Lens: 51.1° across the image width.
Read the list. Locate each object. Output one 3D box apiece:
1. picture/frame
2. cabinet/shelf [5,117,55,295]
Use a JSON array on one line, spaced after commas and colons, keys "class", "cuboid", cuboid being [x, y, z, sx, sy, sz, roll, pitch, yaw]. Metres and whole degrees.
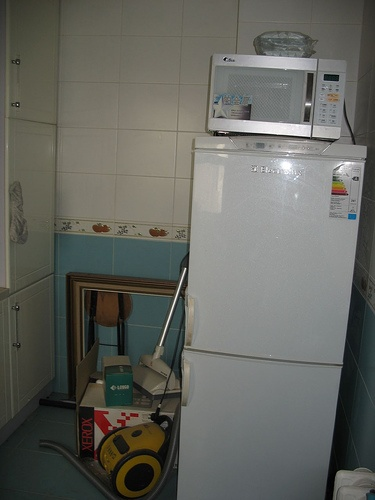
[{"class": "picture/frame", "cuboid": [-0.311, 0.455, 2.208, 0.725, 0.052, 0.956, 6, 33, -21]}, {"class": "cabinet/shelf", "cuboid": [-0.822, -0.242, 2.104, 0.119, 0.864, 0.492, -1, 9, 6]}]
